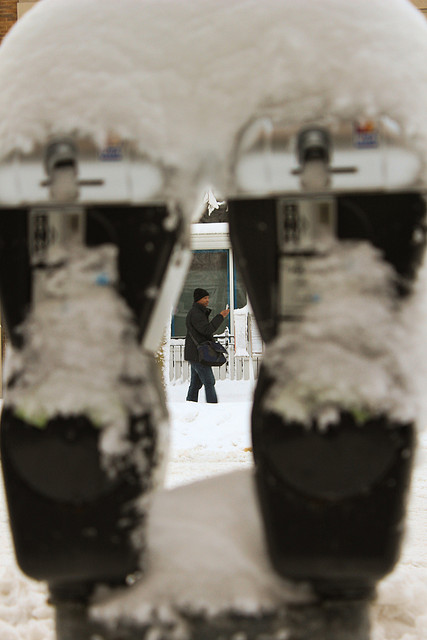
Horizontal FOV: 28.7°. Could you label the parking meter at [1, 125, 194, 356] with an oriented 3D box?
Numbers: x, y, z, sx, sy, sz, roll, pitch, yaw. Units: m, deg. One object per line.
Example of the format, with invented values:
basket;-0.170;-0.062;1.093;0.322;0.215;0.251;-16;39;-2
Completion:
parking meter;-0.393;-0.260;2.784;0.638;0.636;0.503;-3;41;-1
